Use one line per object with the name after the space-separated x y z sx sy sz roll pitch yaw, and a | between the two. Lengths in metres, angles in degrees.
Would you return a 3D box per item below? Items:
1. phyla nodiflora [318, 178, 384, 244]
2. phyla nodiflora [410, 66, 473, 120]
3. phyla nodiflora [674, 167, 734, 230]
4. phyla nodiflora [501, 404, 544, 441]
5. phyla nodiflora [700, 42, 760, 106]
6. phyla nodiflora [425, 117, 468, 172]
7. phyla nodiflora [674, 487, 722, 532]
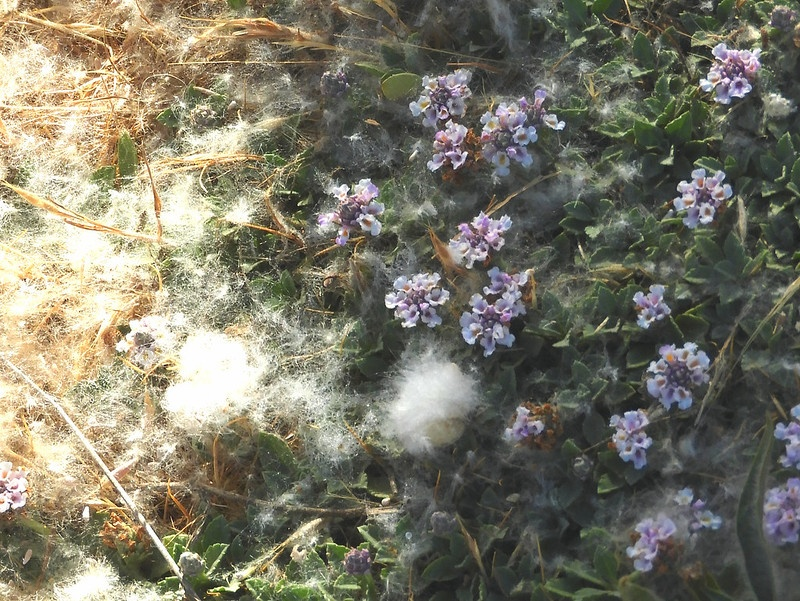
-0.281 -0.531 4.800 0.392 0.467 0.188 9 -8 7 | phyla nodiflora
0.220 -1.105 4.782 0.325 0.207 0.162 -5 -38 9 | phyla nodiflora
1.551 -0.532 4.551 0.275 0.257 0.188 -14 -40 20 | phyla nodiflora
0.614 0.632 4.491 0.137 0.079 0.155 -19 15 -28 | phyla nodiflora
1.728 -1.189 4.653 0.332 0.290 0.159 -57 -21 6 | phyla nodiflora
0.248 -0.837 4.762 0.163 0.298 0.184 -11 23 -37 | phyla nodiflora
1.464 1.059 4.431 0.232 0.171 0.090 38 -26 7 | phyla nodiflora
